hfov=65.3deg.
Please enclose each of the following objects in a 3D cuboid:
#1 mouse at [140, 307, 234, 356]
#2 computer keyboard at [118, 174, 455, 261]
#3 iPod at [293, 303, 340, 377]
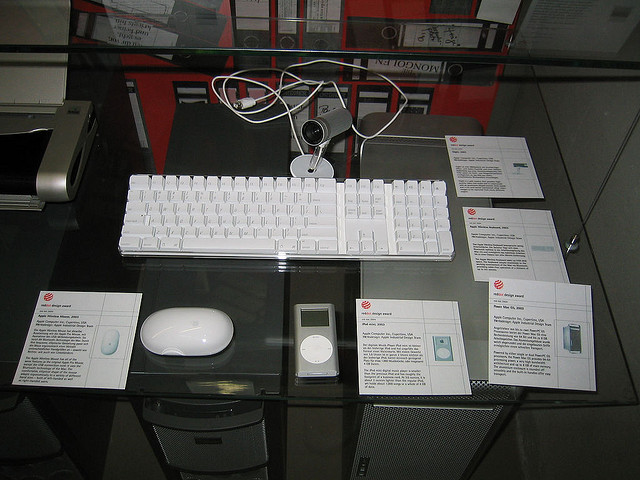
[{"bbox_3d":[-0.256,0.170,0.962,0.148,0.043,0.090,-1,66,-4],"label":"mouse"},{"bbox_3d":[-0.065,-0.046,1.069,0.694,0.174,0.122,3,22,-2],"label":"computer keyboard"},{"bbox_3d":[-0.008,0.194,0.977,0.075,0.030,0.127,-2,66,1],"label":"iPod"}]
